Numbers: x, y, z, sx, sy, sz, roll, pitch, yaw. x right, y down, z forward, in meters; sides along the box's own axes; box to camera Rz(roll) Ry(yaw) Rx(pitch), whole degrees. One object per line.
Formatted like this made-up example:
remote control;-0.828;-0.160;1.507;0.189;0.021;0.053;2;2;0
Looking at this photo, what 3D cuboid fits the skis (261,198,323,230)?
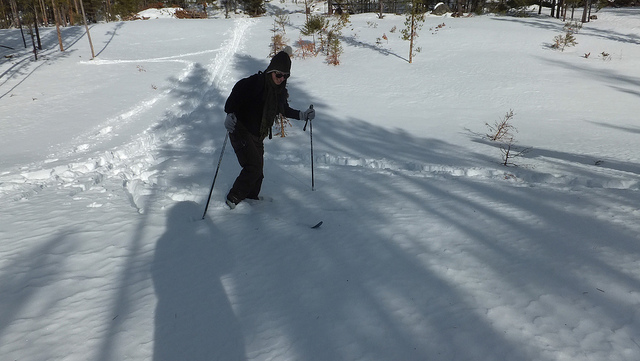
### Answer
skis;-0.802;0.997;11.956;1.667;0.223;0.229;23;12;16
